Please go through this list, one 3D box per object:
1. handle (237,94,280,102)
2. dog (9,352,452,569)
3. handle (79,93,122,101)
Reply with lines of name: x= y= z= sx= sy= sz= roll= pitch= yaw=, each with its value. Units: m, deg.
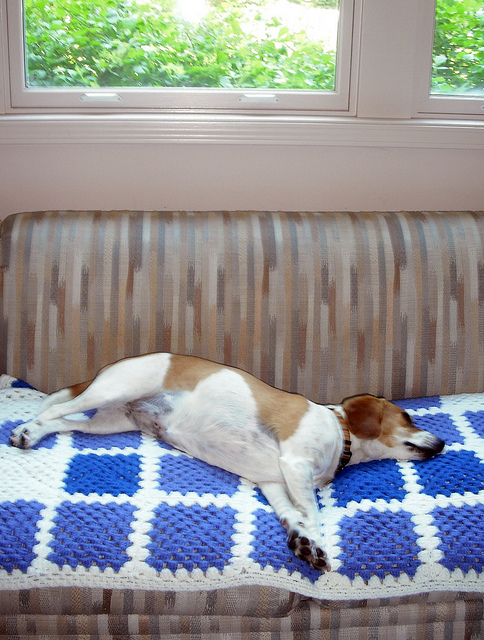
handle: x=0.053 y=-0.734 z=2.026 sx=0.138 sy=0.026 sz=0.018 roll=0 pitch=17 yaw=-1
dog: x=-0.010 y=0.255 z=1.356 sx=0.956 sy=0.262 sz=0.526 roll=2 pitch=16 yaw=7
handle: x=-0.461 y=-0.729 z=2.000 sx=0.135 sy=0.025 sz=0.023 roll=2 pitch=17 yaw=6
